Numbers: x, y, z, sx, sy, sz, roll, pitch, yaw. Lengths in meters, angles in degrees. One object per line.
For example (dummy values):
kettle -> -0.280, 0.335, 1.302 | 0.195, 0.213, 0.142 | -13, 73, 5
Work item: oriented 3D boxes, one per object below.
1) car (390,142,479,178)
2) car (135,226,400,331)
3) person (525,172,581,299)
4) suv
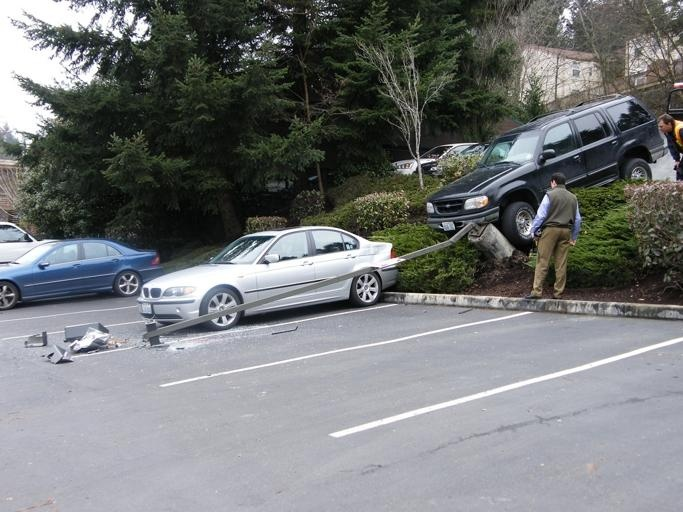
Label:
car -> 3.401, -3.780, 22.229 | 3.428, 1.244, 1.548 | -3, 9, -19
car -> -1.389, 0.315, 11.043 | 4.915, 1.557, 1.944 | -3, 1, -31
person -> 3.530, -0.203, 9.515 | 0.841, 1.814, 0.407 | -2, 8, 22
suv -> 4.588, -1.882, 12.498 | 5.493, 3.257, 1.466 | -8, 8, -28
